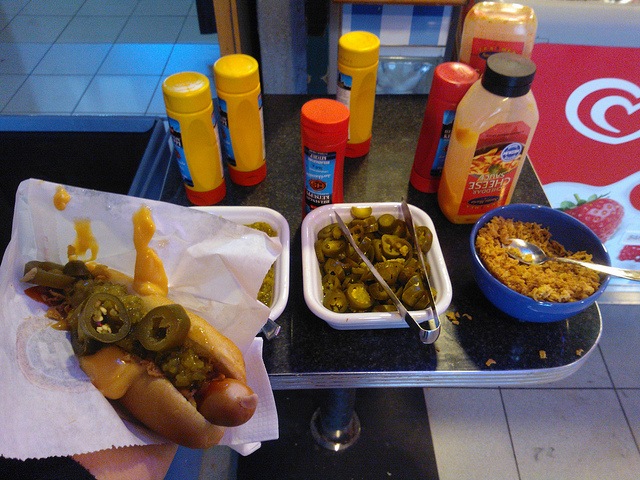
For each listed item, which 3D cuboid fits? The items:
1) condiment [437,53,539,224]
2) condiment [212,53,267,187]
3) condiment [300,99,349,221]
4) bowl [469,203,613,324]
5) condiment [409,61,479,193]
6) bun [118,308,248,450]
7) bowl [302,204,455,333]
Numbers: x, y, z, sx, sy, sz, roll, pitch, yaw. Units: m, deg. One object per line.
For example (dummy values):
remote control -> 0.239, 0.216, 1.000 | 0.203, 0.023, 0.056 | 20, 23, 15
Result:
condiment -> 0.476, -0.282, 1.550 | 0.226, 0.439, 0.251 | -8, 54, -6
condiment -> -0.227, -0.357, 1.684 | 0.157, 0.399, 0.161 | -1, 42, -3
condiment -> 0.012, -0.200, 1.623 | 0.129, 0.453, 0.137 | 36, 56, 26
bowl -> 0.572, 0.123, 1.568 | 0.353, 0.194, 0.350 | 2, 49, -2
condiment -> 0.362, -0.333, 1.669 | 0.155, 0.390, 0.137 | 23, 41, 25
bun -> -0.329, 0.306, 1.242 | 0.192, 0.112, 0.367 | -40, 81, -17
bowl -> 0.149, 0.085, 1.466 | 0.381, 0.150, 0.417 | 1, 54, -1
